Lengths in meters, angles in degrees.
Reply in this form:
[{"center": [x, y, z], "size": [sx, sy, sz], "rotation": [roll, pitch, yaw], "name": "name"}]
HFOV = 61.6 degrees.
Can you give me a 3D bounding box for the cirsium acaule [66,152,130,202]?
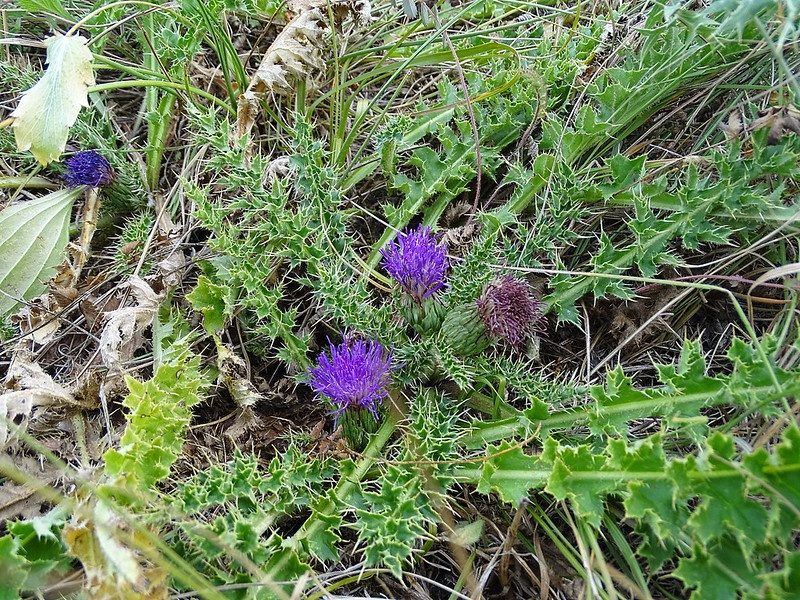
[{"center": [-1.543, -0.615, 3.382], "size": [0.222, 0.111, 0.189], "rotation": [19, 46, -24], "name": "cirsium acaule"}]
